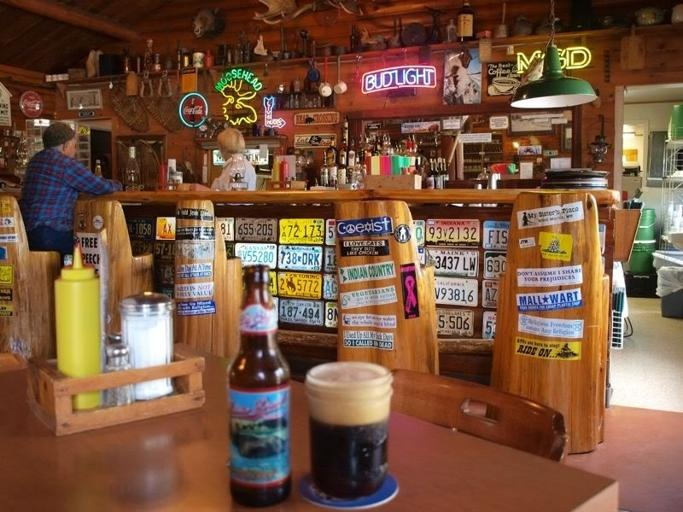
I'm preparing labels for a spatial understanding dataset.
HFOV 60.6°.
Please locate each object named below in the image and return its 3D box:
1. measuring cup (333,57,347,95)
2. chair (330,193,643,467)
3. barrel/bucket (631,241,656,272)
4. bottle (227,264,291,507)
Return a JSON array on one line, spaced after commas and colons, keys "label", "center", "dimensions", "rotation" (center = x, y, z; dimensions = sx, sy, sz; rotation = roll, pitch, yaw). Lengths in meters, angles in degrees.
[{"label": "measuring cup", "center": [-0.010, -2.243, 7.260], "dimensions": [0.166, 0.441, 0.175], "rotation": [2, 7, 0]}, {"label": "chair", "center": [0.841, 0.296, 3.752], "dimensions": [1.739, 1.503, 1.345], "rotation": [0, 2, 10]}, {"label": "barrel/bucket", "center": [4.541, 0.008, 8.802], "dimensions": [0.413, 0.446, 0.441], "rotation": [0, 6, 0]}, {"label": "bottle", "center": [-0.148, 0.222, 1.081], "dimensions": [0.120, 0.415, 0.179], "rotation": [1, 7, -6]}]
